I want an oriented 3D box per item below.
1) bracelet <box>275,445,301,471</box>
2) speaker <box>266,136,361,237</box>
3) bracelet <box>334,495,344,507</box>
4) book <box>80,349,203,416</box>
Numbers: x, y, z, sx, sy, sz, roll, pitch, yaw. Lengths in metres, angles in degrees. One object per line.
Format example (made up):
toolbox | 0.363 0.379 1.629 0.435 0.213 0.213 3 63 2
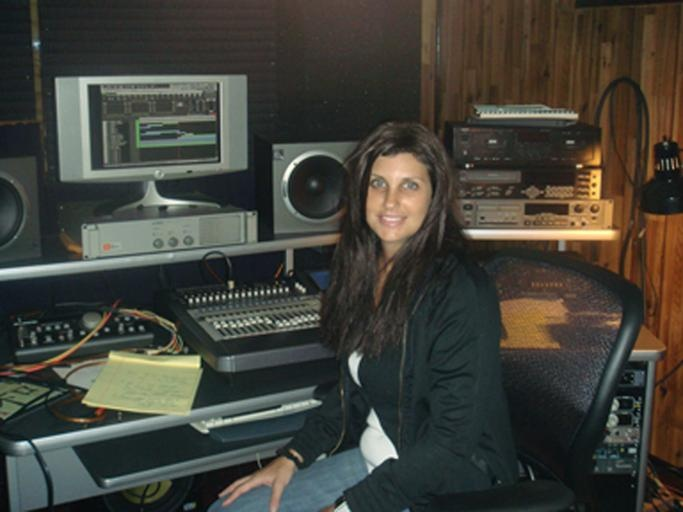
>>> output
bracelet | -0.163 0.578 1.743 0.047 0.064 0.035 -15 1 24
speaker | -0.116 -0.257 2.194 0.346 0.331 0.178 -3 14 -15
bracelet | -0.009 0.622 1.529 0.013 0.017 0.038 9 15 36
book | -0.585 0.386 1.817 0.179 0.038 0.195 8 19 0
